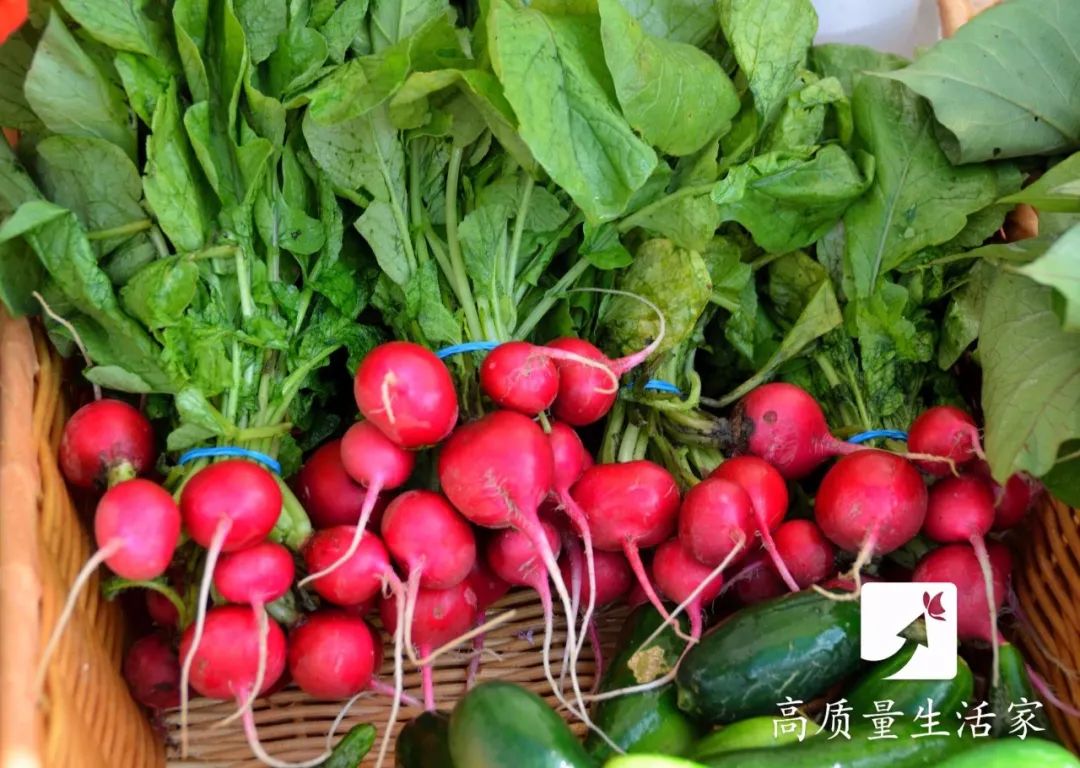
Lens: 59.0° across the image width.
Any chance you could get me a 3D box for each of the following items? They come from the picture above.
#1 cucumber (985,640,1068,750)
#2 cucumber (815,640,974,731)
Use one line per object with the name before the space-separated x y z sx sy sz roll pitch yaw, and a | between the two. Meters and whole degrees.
cucumber | 0.556 0.359 1.087 0.048 0.132 0.052 -12 -11 18
cucumber | 0.406 0.358 1.086 0.153 0.087 0.062 -20 -42 4
